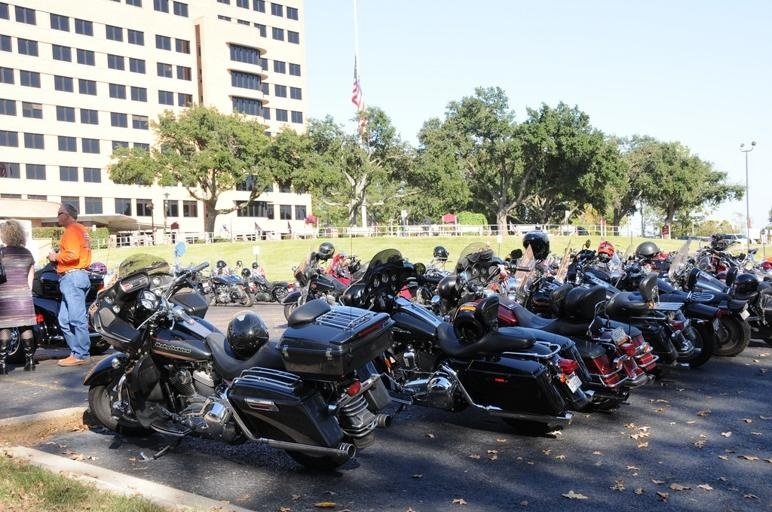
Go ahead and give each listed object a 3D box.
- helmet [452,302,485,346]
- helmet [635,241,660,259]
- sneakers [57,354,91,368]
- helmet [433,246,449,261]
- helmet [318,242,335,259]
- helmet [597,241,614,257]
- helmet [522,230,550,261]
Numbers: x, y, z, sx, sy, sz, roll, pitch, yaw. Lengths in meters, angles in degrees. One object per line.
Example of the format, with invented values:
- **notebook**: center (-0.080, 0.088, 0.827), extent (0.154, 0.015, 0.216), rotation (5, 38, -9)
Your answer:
- **helmet**: center (1.086, 0.886, 8.078), extent (0.210, 0.487, 0.459), rotation (-19, 20, -42)
- **helmet**: center (5.305, -0.161, 12.530), extent (0.333, 0.317, 0.413), rotation (17, 44, 39)
- **sneakers**: center (-5.693, 1.912, 11.305), extent (0.572, 0.201, 0.289), rotation (3, -4, 1)
- **helmet**: center (1.387, -0.037, 15.902), extent (0.329, 0.301, 0.416), rotation (10, 22, 39)
- **helmet**: center (-1.241, -0.135, 12.838), extent (0.399, 0.289, 0.370), rotation (-16, -9, -1)
- **helmet**: center (4.969, -0.151, 14.008), extent (0.378, 0.369, 0.500), rotation (-2, -5, 27)
- **helmet**: center (2.541, -0.189, 10.536), extent (0.466, 0.471, 0.534), rotation (-1, 0, 1)
